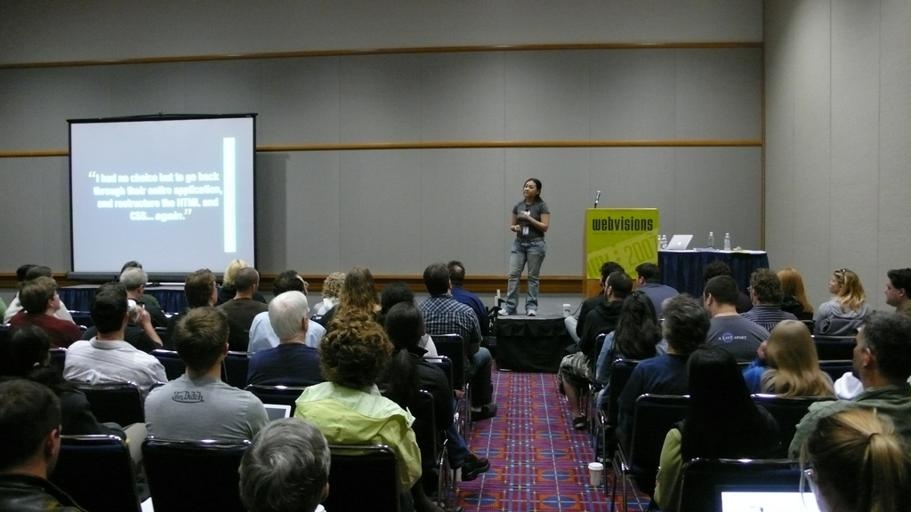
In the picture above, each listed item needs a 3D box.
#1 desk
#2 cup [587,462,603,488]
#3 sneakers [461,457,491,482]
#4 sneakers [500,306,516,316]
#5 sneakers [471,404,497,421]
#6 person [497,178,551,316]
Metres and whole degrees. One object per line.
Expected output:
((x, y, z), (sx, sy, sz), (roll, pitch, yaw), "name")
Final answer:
((3.936, 0.282, 11.674), (1.618, 0.793, 0.580), (3, 5, 13), "desk")
((1.611, 2.480, 8.392), (0.263, 0.257, 0.252), (-1, 4, 0), "cup")
((0.197, 2.381, 8.269), (0.174, 0.209, 0.473), (-1, 3, 30), "sneakers")
((0.822, 0.915, 12.152), (0.110, 0.116, 0.277), (-3, -9, 41), "sneakers")
((0.370, 2.092, 9.848), (0.417, 0.173, 0.138), (-4, 6, -7), "sneakers")
((1.151, -0.156, 12.260), (0.736, 2.273, 0.681), (-1, 4, 6), "person")
